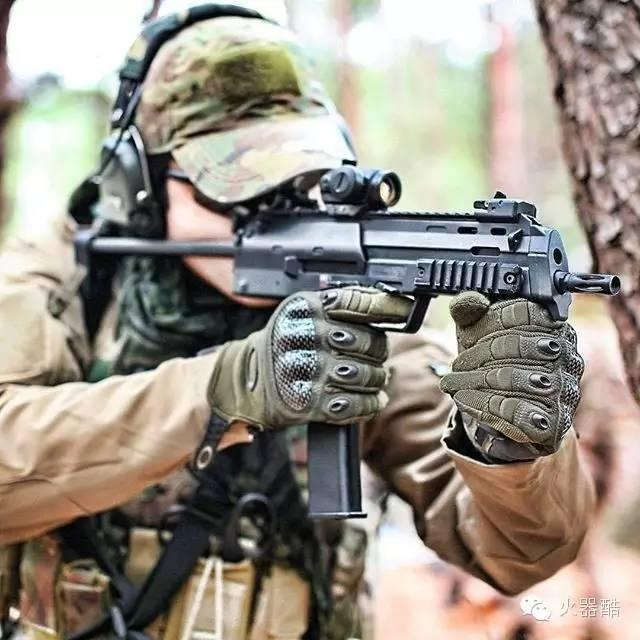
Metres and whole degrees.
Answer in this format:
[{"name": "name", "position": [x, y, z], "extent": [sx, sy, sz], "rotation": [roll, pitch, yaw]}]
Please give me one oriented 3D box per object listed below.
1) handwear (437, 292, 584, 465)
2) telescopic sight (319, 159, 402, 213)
[{"name": "handwear", "position": [0.392, 0.127, 1.788], "extent": [0.391, 0.198, 0.310], "rotation": [31, 53, 29]}, {"name": "telescopic sight", "position": [0.108, -0.352, 2.062], "extent": [0.176, 0.123, 0.247], "rotation": [7, 7, -9]}]
